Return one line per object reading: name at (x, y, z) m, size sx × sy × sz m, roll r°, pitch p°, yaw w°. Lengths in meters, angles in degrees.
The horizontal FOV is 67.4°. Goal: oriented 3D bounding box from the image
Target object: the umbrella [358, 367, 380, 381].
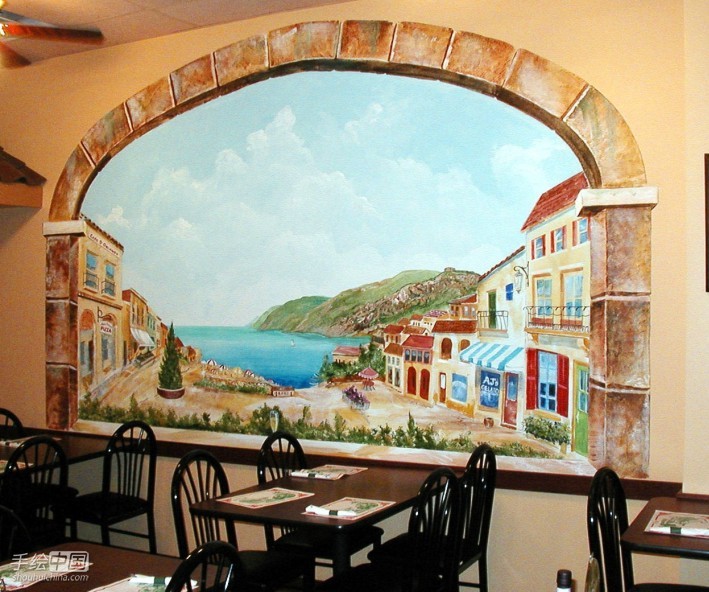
umbrella at (0.089, 0.510, 3.524) m, size 0.081 × 0.045 × 0.082 m, roll 1°, pitch 1°, yaw -37°
